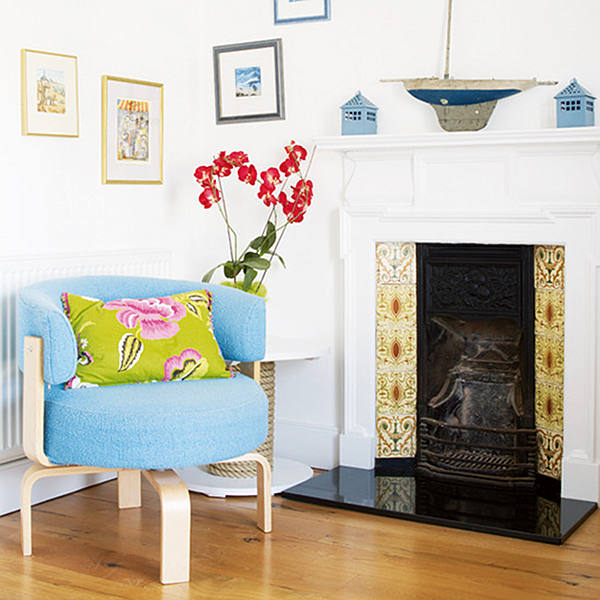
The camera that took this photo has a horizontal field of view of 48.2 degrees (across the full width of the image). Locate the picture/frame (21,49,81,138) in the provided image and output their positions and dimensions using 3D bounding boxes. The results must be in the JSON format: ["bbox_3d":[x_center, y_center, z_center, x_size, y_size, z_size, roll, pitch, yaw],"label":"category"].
[{"bbox_3d":[-0.909,-0.751,2.453,0.035,0.324,0.257,1,3,27],"label":"picture/frame"}]

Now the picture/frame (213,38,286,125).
[{"bbox_3d":[-0.203,-0.965,2.932,0.423,0.405,0.029,-1,1,17],"label":"picture/frame"}]

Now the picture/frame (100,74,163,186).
[{"bbox_3d":[-0.691,-0.706,2.827,0.046,0.456,0.349,1,3,32],"label":"picture/frame"}]

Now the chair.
[{"bbox_3d":[-0.464,0.340,2.014,0.671,0.814,0.693,2,3,39],"label":"chair"}]
